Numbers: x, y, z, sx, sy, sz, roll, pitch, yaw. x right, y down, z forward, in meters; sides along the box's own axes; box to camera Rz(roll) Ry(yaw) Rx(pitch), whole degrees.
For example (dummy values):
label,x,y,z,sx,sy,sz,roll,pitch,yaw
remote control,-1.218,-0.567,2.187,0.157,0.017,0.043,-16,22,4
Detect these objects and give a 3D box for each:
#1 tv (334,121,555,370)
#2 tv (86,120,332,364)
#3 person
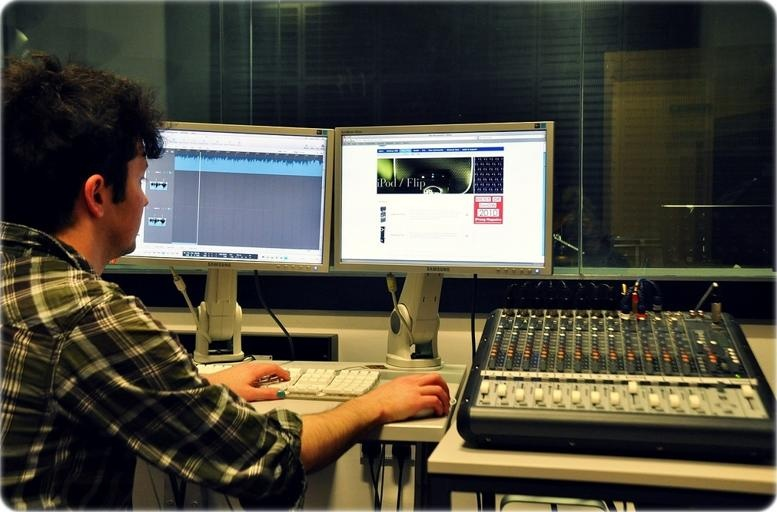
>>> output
label,x,y,z,sx,sy,sz,roll,pitch,yaw
tv,0.204,-0.050,2.261,0.953,0.979,0.259,1,-3,8
tv,-0.537,-0.054,2.169,0.930,0.954,0.295,3,-2,-5
person,-0.524,0.060,2.070,1.182,1.019,0.846,-6,8,-35
